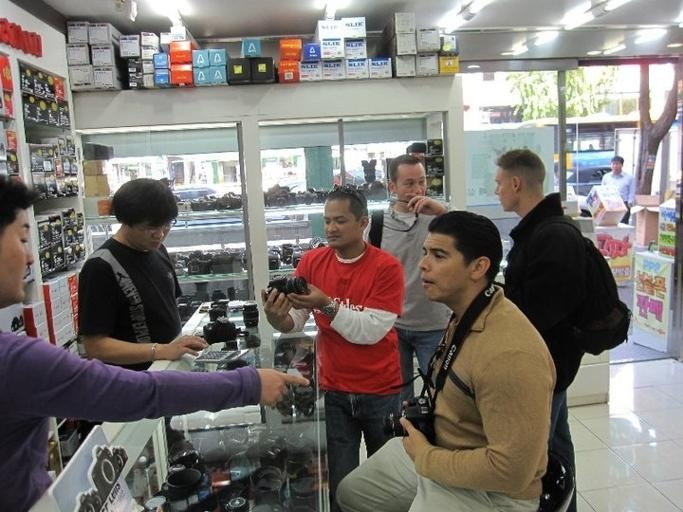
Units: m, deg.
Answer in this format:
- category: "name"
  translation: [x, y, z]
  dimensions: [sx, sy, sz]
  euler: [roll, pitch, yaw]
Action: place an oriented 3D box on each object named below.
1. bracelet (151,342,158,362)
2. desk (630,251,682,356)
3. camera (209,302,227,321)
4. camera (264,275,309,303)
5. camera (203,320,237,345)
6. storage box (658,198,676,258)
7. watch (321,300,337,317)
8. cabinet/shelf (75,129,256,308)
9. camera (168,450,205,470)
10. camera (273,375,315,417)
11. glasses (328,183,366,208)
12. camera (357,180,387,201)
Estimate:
- category: "bracelet"
  translation: [-0.853, 0.441, 2.369]
  dimensions: [0.017, 0.063, 0.047]
  euler: [5, -2, -11]
- category: "desk"
  translation: [3.312, 0.477, 5.519]
  dimensions: [0.288, 0.999, 0.592]
  euler: [-2, 11, 9]
- category: "camera"
  translation: [-0.665, 0.292, 2.800]
  dimensions: [0.083, 0.112, 0.112]
  euler: [4, 20, 1]
- category: "camera"
  translation: [-0.245, 0.157, 2.473]
  dimensions: [0.120, 0.071, 0.113]
  euler: [-4, 6, 16]
- category: "camera"
  translation: [-0.570, 0.357, 2.419]
  dimensions: [0.143, 0.103, 0.089]
  euler: [0, 3, -8]
- category: "storage box"
  translation: [3.445, -0.301, 5.488]
  dimensions: [0.153, 0.552, 0.416]
  euler: [3, 13, 31]
- category: "watch"
  translation: [-0.056, 0.251, 2.506]
  dimensions: [0.052, 0.082, 0.072]
  euler: [26, 9, -20]
- category: "cabinet/shelf"
  translation: [-1.319, -0.310, 3.925]
  dimensions: [1.455, 1.694, 0.543]
  euler: [-6, -2, -8]
- category: "camera"
  translation: [-0.572, 0.759, 1.925]
  dimensions: [0.058, 0.030, 0.082]
  euler: [1, 2, 12]
- category: "camera"
  translation: [-0.174, 0.552, 2.125]
  dimensions: [0.133, 0.099, 0.214]
  euler: [0, 5, -8]
- category: "glasses"
  translation: [0.051, -0.312, 2.727]
  dimensions: [0.139, 0.150, 0.046]
  euler: [3, 32, 15]
- category: "camera"
  translation: [0.301, -0.579, 4.634]
  dimensions: [0.233, 0.133, 0.307]
  euler: [0, 9, -2]
